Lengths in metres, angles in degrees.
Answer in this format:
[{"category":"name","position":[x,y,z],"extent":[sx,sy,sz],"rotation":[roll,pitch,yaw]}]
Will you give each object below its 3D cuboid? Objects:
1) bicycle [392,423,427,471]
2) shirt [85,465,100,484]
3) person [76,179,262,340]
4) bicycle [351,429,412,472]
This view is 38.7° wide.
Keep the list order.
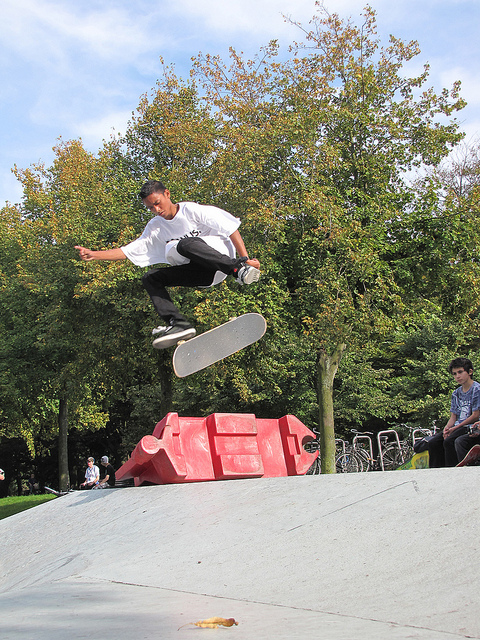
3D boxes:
[{"category":"bicycle","position":[3.760,2.911,15.855],"extent":[0.622,1.033,2.479],"rotation":[-11,-3,12]},{"category":"shirt","position":[-3.378,3.521,15.588],"extent":[0.284,0.334,0.450],"rotation":[-9,-3,-15]},{"category":"person","position":[-0.653,-0.563,6.558],"extent":[1.667,1.524,0.824],"rotation":[-17,-33,9]},{"category":"bicycle","position":[3.583,3.195,16.443],"extent":[0.864,1.070,1.930],"rotation":[-19,-19,3]}]
